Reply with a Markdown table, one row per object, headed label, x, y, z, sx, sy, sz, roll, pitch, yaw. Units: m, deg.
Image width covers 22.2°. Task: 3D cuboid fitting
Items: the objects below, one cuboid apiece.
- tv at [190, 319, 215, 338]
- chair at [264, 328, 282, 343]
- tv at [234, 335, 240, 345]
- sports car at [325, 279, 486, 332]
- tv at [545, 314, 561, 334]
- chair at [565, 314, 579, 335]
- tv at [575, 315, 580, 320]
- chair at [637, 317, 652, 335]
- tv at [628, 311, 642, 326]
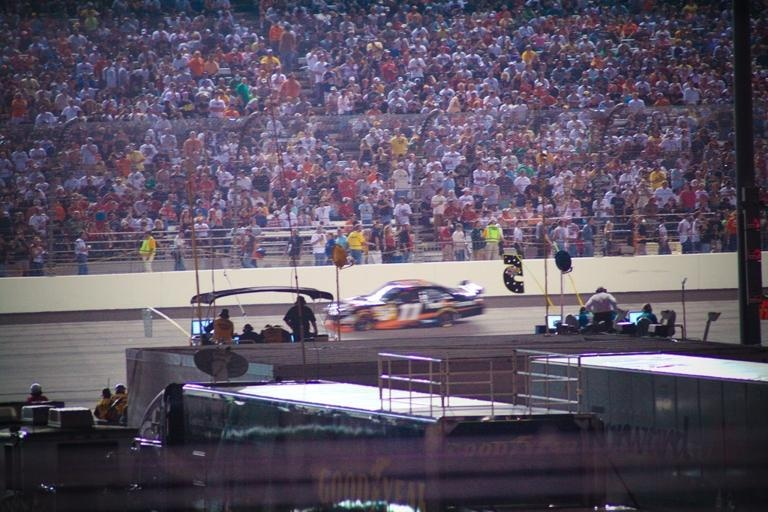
| label | x | y | z | sx | sy | sz | roll | pitch | yaw |
| --- | --- | --- | --- | --- | --- | --- | --- | --- | --- |
| tv | -5.504 | 2.190 | 57.653 | 0.821 | 0.510 | 0.537 | -1 | -12 | -4 |
| chair | -3.372 | 2.359 | 57.261 | 0.648 | 0.506 | 0.488 | -1 | -1 | -3 |
| tv | -4.401 | 2.522 | 57.061 | 0.219 | 0.359 | 0.205 | 3 | -11 | -11 |
| sports car | 0.692 | 1.647 | 61.104 | 5.087 | 1.574 | 1.050 | -1 | -1 | -16 |
| tv | 4.985 | 2.086 | 57.615 | 0.429 | 0.510 | 0.808 | -1 | -1 | 3 |
| chair | 5.490 | 2.069 | 57.121 | 0.395 | 0.549 | 0.323 | -1 | -1 | -6 |
| tv | 5.722 | 1.917 | 57.943 | 0.157 | 0.066 | 0.230 | 3 | 7 | 2 |
| chair | 7.502 | 2.115 | 56.332 | 0.371 | 0.517 | 0.284 | -2 | -1 | 9 |
| tv | 7.403 | 1.910 | 57.796 | 0.369 | 0.564 | 0.328 | 0 | -7 | 1 |
